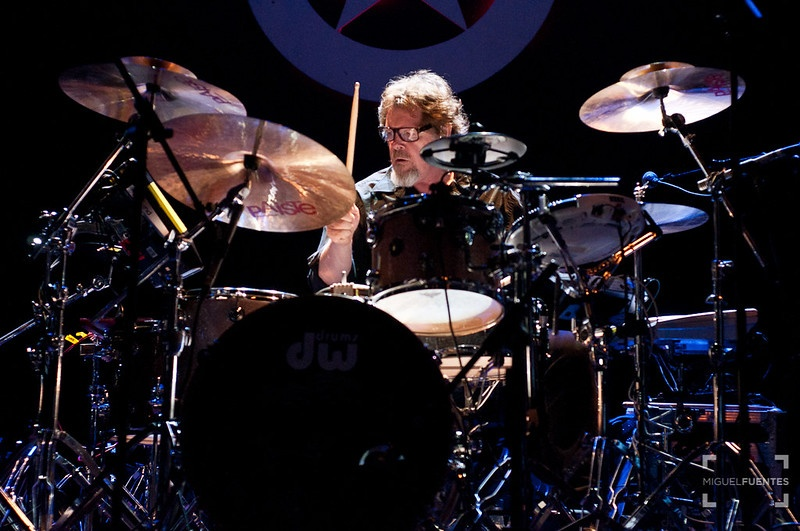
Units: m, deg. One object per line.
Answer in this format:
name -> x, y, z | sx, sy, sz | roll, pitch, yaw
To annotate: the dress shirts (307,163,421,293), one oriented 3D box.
dress shirts -> -0.220, -0.250, 6.017 | 0.750, 0.962, 0.255 | 14, 3, -43
